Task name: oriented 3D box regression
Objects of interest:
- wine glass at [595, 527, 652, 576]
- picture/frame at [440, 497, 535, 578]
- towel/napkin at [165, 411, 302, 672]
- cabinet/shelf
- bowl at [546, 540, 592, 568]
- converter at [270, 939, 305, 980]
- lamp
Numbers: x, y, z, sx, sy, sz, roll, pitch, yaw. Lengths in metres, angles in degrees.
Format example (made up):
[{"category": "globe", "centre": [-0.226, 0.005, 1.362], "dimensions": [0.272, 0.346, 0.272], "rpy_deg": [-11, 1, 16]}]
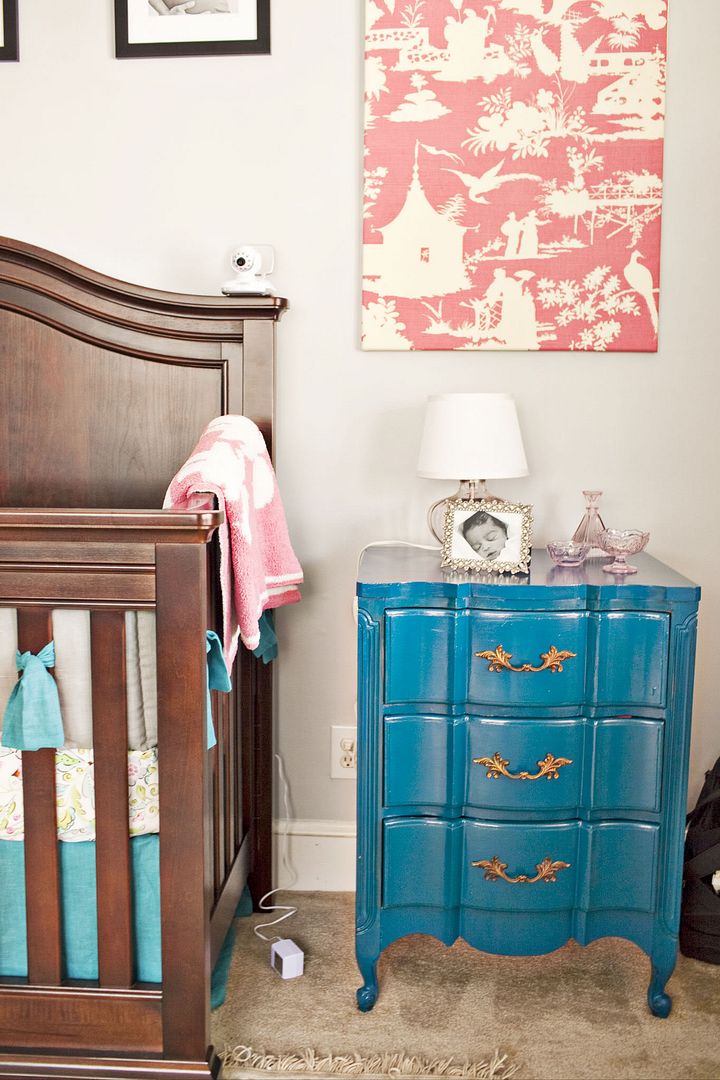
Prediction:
[{"category": "wine glass", "centre": [0.457, 0.013, 1.742], "dimensions": [0.088, 0.080, 0.082], "rpy_deg": [0, 3, 1]}, {"category": "picture/frame", "centre": [0.217, -0.002, 1.731], "dimensions": [0.140, 0.135, 0.012], "rpy_deg": [1, -3, 15]}, {"category": "towel/napkin", "centre": [-0.212, -0.013, 1.625], "dimensions": [0.201, 0.336, 0.478], "rpy_deg": [-1, 10, 0]}, {"category": "cabinet/shelf", "centre": [0.277, 0.402, 1.937], "dimensions": [0.748, 0.952, 0.602], "rpy_deg": [0, 9, 1]}, {"category": "bowl", "centre": [0.369, 0.020, 1.790], "dimensions": [0.053, 0.028, 0.051], "rpy_deg": [-1, 10, 0]}, {"category": "converter", "centre": [-0.134, 0.752, 1.815], "dimensions": [0.044, 0.047, 0.061], "rpy_deg": [1, -1, -21]}, {"category": "lamp", "centre": [0.195, -0.129, 1.770], "dimensions": [0.199, 0.295, 0.209], "rpy_deg": [0, 14, 4]}]
